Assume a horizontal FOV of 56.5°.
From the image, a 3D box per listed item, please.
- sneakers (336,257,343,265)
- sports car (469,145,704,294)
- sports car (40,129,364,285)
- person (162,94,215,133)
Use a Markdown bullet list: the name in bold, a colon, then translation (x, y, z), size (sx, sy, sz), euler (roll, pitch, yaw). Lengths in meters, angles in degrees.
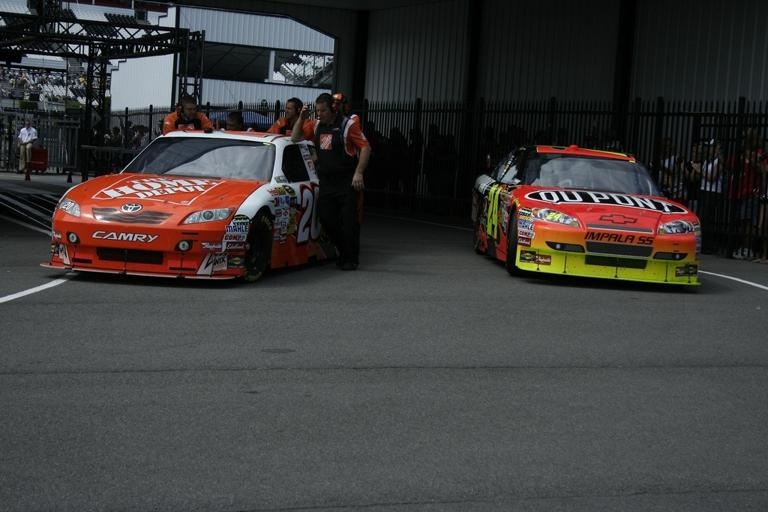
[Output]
- **sneakers**: translation (-0.714, 0.086, 11.363), size (0.072, 0.113, 0.143), euler (1, -3, -7)
- **sports car**: translation (3.149, -0.690, 11.624), size (2.683, 1.859, 3.403), euler (-1, 16, -8)
- **sports car**: translation (-2.204, -0.649, 10.006), size (1.842, 1.355, 3.446), euler (3, 5, 19)
- **person**: translation (-3.672, -2.580, 13.487), size (0.837, 0.893, 1.211), euler (0, 19, -17)
